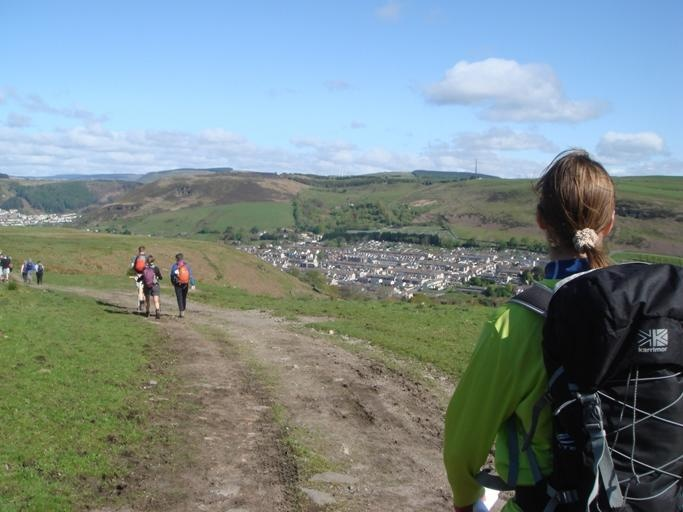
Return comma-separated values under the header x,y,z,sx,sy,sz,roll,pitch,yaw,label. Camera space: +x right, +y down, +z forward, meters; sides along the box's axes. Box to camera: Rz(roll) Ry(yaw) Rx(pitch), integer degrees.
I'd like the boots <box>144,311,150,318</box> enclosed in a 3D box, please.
x,y,z,sx,sy,sz,roll,pitch,yaw,label
-7.558,2.248,18.994,0.234,0.226,0.417,1,6,-1,boots

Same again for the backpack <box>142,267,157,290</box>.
x,y,z,sx,sy,sz,roll,pitch,yaw,label
-7.227,0.794,18.407,0.516,0.845,0.350,6,8,-21,backpack
